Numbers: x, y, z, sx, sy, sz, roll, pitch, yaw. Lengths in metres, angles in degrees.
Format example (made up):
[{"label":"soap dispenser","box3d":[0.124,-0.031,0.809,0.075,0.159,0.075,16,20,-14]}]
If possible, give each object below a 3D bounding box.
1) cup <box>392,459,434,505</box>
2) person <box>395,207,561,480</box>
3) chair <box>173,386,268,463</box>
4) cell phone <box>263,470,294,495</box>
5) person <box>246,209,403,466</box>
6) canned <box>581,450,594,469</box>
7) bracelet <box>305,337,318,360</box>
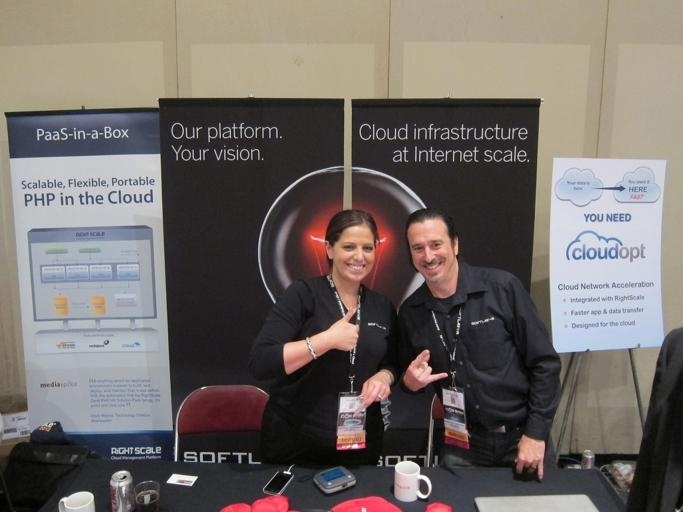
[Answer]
[{"label":"cup","box3d":[0.435,1.356,3.934,0.157,0.195,0.264,-3,12,-37]},{"label":"person","box3d":[0.884,0.554,4.258,1.063,1.709,0.418,3,6,20]},{"label":"chair","box3d":[-0.880,1.185,4.933,0.544,0.698,0.892,-1,-10,-14]},{"label":"cell phone","box3d":[-0.387,1.385,3.986,0.124,0.091,0.181,4,6,32]},{"label":"person","box3d":[-0.105,0.553,4.290,0.931,1.713,0.463,1,5,5]},{"label":"canned","box3d":[1.915,1.555,5.046,0.072,0.137,0.206,3,5,19]},{"label":"bracelet","box3d":[-0.191,0.579,4.117,0.078,0.133,0.051,2,6,13]}]
